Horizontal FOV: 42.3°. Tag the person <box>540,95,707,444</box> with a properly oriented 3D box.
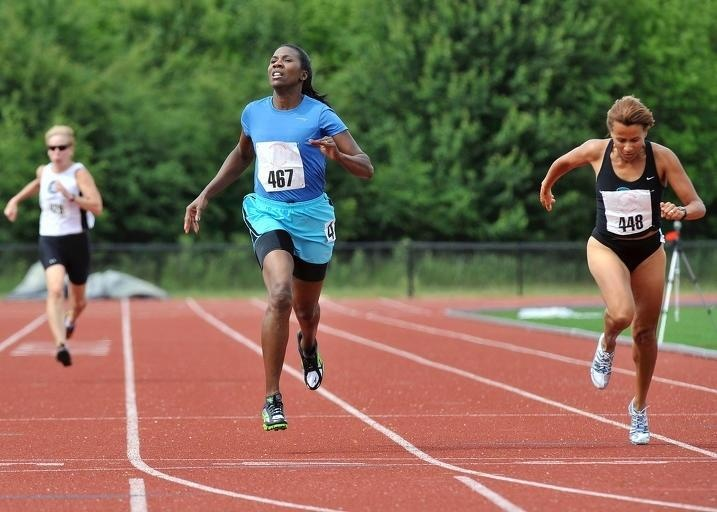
[{"bbox_3d":[2.104,0.117,7.241,1.092,2.705,0.591,1,7,20],"label":"person"}]

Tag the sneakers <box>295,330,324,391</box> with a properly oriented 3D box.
[{"bbox_3d":[-0.400,0.943,8.082,0.199,0.584,0.236,-10,5,0],"label":"sneakers"}]

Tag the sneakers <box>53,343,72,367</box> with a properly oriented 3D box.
[{"bbox_3d":[-2.859,0.966,9.042,0.149,0.239,0.097,-17,-5,26],"label":"sneakers"}]

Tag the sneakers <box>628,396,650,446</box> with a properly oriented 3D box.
[{"bbox_3d":[2.218,1.300,7.396,0.143,0.416,0.179,-3,-31,10],"label":"sneakers"}]

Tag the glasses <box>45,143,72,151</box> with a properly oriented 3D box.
[{"bbox_3d":[-3.043,-1.111,9.466,0.219,0.064,0.121,-3,7,-17],"label":"glasses"}]

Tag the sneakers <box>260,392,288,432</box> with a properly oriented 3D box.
[{"bbox_3d":[-0.648,1.195,7.099,0.141,0.183,0.380,0,-1,-13],"label":"sneakers"}]

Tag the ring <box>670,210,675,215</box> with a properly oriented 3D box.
[{"bbox_3d":[2.322,-0.324,6.876,0.039,0.018,0.017,-5,7,-28],"label":"ring"}]
